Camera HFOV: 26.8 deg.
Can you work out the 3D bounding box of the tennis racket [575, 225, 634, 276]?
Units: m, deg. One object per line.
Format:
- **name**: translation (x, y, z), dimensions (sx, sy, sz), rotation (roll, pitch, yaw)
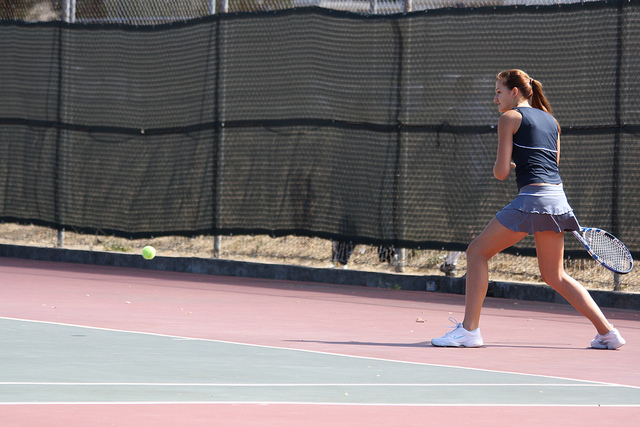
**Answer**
- **tennis racket**: translation (2.733, 0.335, 12.671), dimensions (0.364, 0.089, 0.893), rotation (25, 17, -31)
